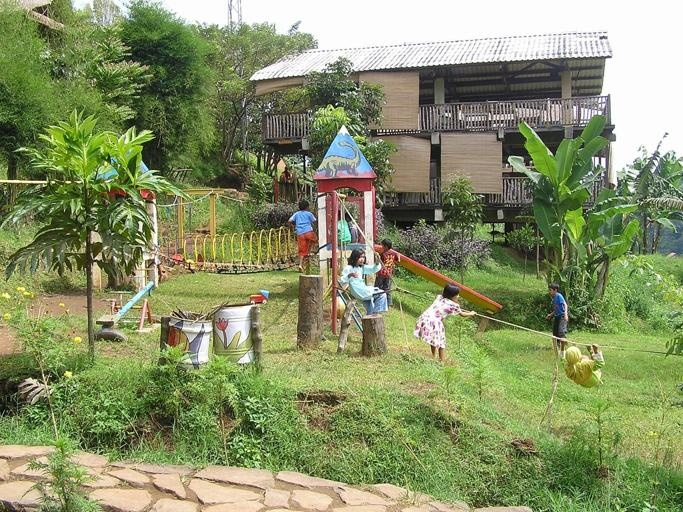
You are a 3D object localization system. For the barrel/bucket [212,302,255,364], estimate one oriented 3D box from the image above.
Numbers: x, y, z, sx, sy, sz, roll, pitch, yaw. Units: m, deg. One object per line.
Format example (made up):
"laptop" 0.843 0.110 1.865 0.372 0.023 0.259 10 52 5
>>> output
"barrel/bucket" -1.396 1.031 9.479 0.590 0.773 0.651 0 0 3

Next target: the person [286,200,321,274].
"person" -0.887 -0.471 16.458 0.612 1.638 2.134 3 0 -4

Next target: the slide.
"slide" 2.240 0.557 17.211 2.387 0.277 0.495 35 -2 -2

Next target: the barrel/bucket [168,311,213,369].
"barrel/bucket" -1.934 1.096 9.050 0.583 0.657 0.453 3 0 0

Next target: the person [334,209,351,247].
"person" 0.066 -0.456 13.754 0.256 0.690 0.746 3 0 1

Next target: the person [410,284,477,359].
"person" 1.610 1.104 11.739 0.853 1.253 0.613 3 0 26

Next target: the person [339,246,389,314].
"person" 0.363 0.482 12.883 0.787 1.163 1.206 3 0 0
